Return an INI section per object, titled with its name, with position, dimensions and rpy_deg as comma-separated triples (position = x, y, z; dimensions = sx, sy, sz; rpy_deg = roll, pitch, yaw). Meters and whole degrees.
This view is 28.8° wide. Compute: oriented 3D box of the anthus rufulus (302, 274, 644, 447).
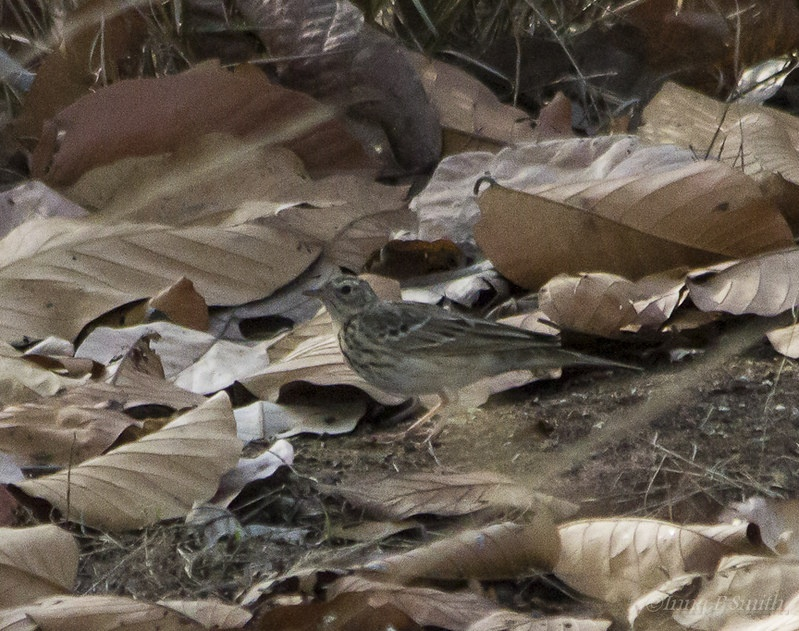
[anthus rufulus]
position = 0.287, 0.159, 6.971
dimensions = 1.478, 0.649, 0.374
rpy_deg = -1, 0, -9
